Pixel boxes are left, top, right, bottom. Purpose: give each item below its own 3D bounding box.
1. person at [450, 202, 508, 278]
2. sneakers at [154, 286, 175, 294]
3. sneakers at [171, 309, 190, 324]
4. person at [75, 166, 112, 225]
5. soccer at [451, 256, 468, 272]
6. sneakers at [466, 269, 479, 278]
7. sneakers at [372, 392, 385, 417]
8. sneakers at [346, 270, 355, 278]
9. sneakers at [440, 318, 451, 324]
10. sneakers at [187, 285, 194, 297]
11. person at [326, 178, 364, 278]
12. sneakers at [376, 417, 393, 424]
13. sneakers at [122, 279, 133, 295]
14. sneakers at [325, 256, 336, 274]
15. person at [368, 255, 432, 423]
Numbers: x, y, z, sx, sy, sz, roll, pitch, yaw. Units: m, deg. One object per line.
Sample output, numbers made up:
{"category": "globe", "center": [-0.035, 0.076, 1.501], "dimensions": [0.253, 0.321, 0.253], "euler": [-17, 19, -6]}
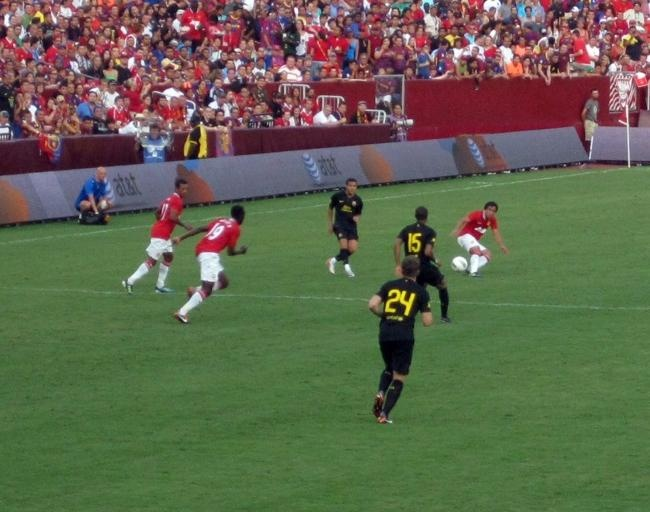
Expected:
{"category": "person", "center": [3.263, -0.384, 26.916], "dimensions": [0.855, 1.631, 1.072], "euler": [-4, 14, 6]}
{"category": "sneakers", "center": [-3.244, 0.688, 25.696], "dimensions": [0.389, 0.175, 0.138], "euler": [0, 16, -5]}
{"category": "sneakers", "center": [-2.607, 1.105, 23.258], "dimensions": [0.145, 0.368, 0.171], "euler": [-21, 33, 58]}
{"category": "person", "center": [-5.801, -1.510, 32.125], "dimensions": [0.855, 1.427, 1.055], "euler": [-3, 14, -34]}
{"category": "soccer", "center": [2.929, 0.175, 27.113], "dimensions": [0.315, 0.183, 0.306], "euler": [-2, 11, -37]}
{"category": "sneakers", "center": [3.146, 0.387, 27.033], "dimensions": [0.104, 0.133, 0.290], "euler": [-1, -1, -30]}
{"category": "sneakers", "center": [0.790, 2.218, 18.988], "dimensions": [0.131, 0.355, 0.166], "euler": [3, -4, 28]}
{"category": "sneakers", "center": [0.598, 0.357, 27.073], "dimensions": [0.159, 0.147, 0.312], "euler": [1, 15, 23]}
{"category": "sneakers", "center": [2.256, 1.196, 23.454], "dimensions": [0.183, 0.122, 0.060], "euler": [1, 30, 3]}
{"category": "sneakers", "center": [-2.543, 0.663, 24.001], "dimensions": [0.126, 0.200, 0.189], "euler": [1, -7, 7]}
{"category": "person", "center": [0.424, -0.644, 27.166], "dimensions": [0.809, 2.086, 0.954], "euler": [-4, 15, 4]}
{"category": "sneakers", "center": [0.943, 2.469, 19.170], "dimensions": [0.274, 0.121, 0.098], "euler": [-3, 12, -23]}
{"category": "sneakers", "center": [-3.897, 0.614, 25.199], "dimensions": [0.164, 0.380, 0.137], "euler": [-5, 44, 14]}
{"category": "sneakers", "center": [0.158, 0.155, 27.145], "dimensions": [0.187, 0.144, 0.421], "euler": [-18, 54, 0]}
{"category": "person", "center": [1.167, 1.303, 19.390], "dimensions": [0.967, 2.404, 1.404], "euler": [-4, 15, 6]}
